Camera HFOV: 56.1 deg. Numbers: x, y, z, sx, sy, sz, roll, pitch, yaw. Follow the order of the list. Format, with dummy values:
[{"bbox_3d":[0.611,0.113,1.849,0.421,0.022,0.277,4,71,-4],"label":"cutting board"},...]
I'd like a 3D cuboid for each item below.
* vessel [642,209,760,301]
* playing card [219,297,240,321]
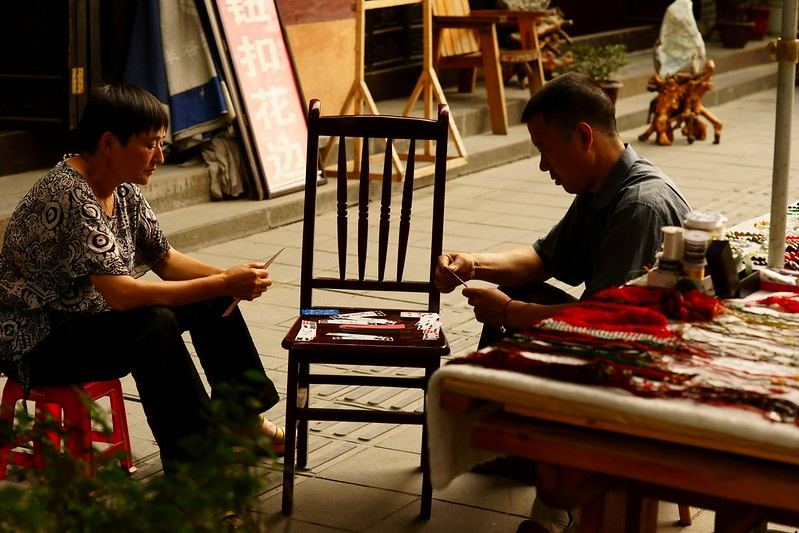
[{"bbox_3d":[1.063,-0.037,2.700,0.358,0.233,0.358,5,16,32],"label":"vessel"},{"bbox_3d":[-0.743,0.180,3.330,0.026,0.108,0.081,38,4,-20],"label":"playing card"}]
